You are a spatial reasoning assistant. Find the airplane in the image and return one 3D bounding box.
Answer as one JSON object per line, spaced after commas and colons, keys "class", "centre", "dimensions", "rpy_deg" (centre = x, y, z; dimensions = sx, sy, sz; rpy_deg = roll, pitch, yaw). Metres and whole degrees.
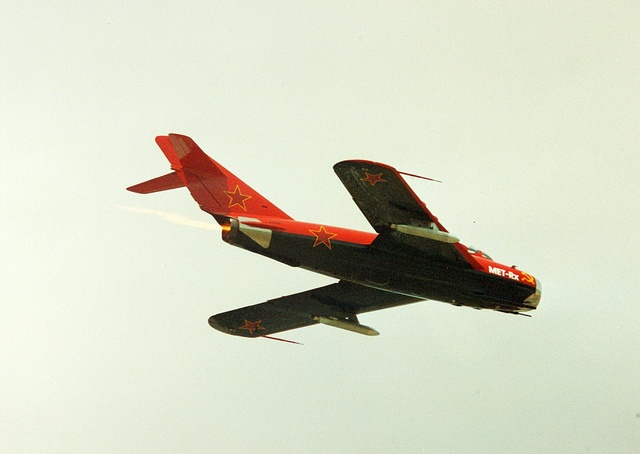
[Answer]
{"class": "airplane", "centre": [0.086, 0.040, 30.009], "dimensions": [7.262, 5.348, 5.838], "rpy_deg": [-21, -33, 5]}
